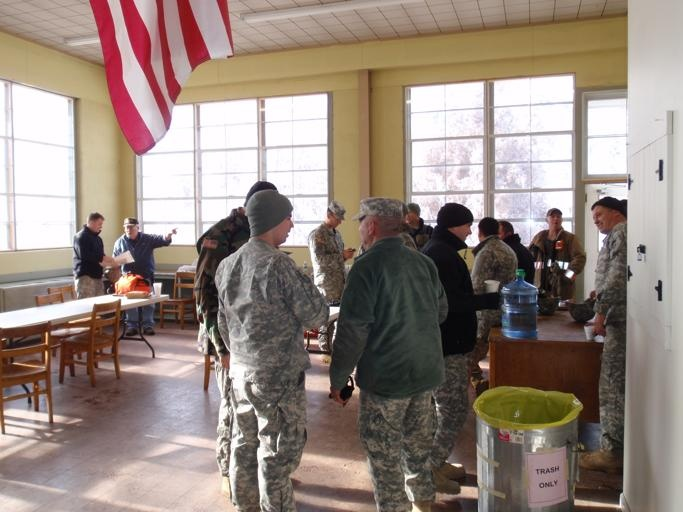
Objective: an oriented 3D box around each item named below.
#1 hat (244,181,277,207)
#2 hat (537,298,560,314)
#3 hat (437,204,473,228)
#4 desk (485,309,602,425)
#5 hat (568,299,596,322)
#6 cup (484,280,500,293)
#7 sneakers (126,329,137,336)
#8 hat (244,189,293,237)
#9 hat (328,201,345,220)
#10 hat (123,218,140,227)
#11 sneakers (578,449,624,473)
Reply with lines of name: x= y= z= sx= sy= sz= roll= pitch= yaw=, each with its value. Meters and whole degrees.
hat: x=-0.595 y=-0.460 z=4.117 sx=0.178 sy=0.153 sz=0.259 roll=2 pitch=2 yaw=9
hat: x=2.014 y=0.495 z=5.571 sx=0.160 sy=0.123 sz=0.167 roll=-1 pitch=-3 yaw=7
hat: x=0.840 y=-0.300 z=4.269 sx=0.227 sy=0.180 sz=0.175 roll=3 pitch=0 yaw=0
desk: x=1.777 y=0.912 z=4.995 sx=0.792 sy=0.534 sz=0.826 roll=0 pitch=0 yaw=22
hat: x=2.209 y=0.499 z=5.229 sx=0.209 sy=0.168 sz=0.189 roll=1 pitch=-3 yaw=-13
cup: x=1.154 y=0.233 z=4.391 sx=0.091 sy=0.077 sz=0.096 roll=-1 pitch=-1 yaw=0
sneakers: x=-3.230 y=1.165 z=8.775 sx=0.096 sy=0.135 sz=0.295 roll=0 pitch=-14 yaw=-4
hat: x=-0.481 y=-0.286 z=3.777 sx=0.299 sy=0.280 sz=0.266 roll=-6 pitch=9 yaw=-37
hat: x=-0.089 y=-0.605 z=7.108 sx=0.181 sy=0.115 sz=0.251 roll=12 pitch=28 yaw=-28
hat: x=-3.375 y=-0.546 z=9.149 sx=0.248 sy=0.143 sz=0.352 roll=0 pitch=5 yaw=-5
sneakers: x=2.025 y=1.608 z=4.465 sx=0.228 sy=0.066 sz=0.175 roll=3 pitch=16 yaw=37
